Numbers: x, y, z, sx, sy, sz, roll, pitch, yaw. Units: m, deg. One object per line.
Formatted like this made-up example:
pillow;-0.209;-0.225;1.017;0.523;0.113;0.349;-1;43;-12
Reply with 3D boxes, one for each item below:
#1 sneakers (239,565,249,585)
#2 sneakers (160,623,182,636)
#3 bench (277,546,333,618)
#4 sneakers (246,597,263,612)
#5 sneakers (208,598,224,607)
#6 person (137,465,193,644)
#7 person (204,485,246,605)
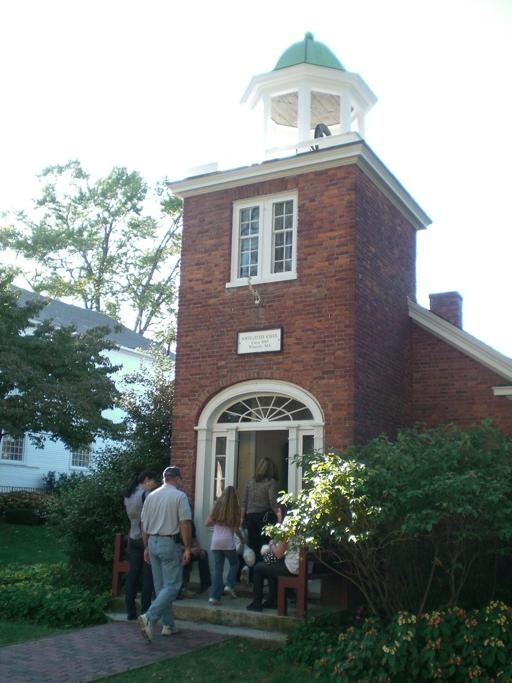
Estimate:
sneakers;-0.185;3.328;9.754;0.151;0.302;0.139;3;11;17
sneakers;-0.944;3.111;7.410;0.092;0.088;0.230;1;-1;23
bench;0.573;2.794;8.025;0.551;0.749;1.034;0;-12;12
sneakers;-0.024;3.107;8.061;0.192;0.133;0.221;2;-11;0
sneakers;-0.505;3.225;8.460;0.072;0.075;0.196;-4;-16;33
person;-0.991;2.252;7.319;0.558;1.775;0.746;5;-12;-8
person;-0.422;2.651;8.967;0.482;1.482;1.173;3;-12;-2
